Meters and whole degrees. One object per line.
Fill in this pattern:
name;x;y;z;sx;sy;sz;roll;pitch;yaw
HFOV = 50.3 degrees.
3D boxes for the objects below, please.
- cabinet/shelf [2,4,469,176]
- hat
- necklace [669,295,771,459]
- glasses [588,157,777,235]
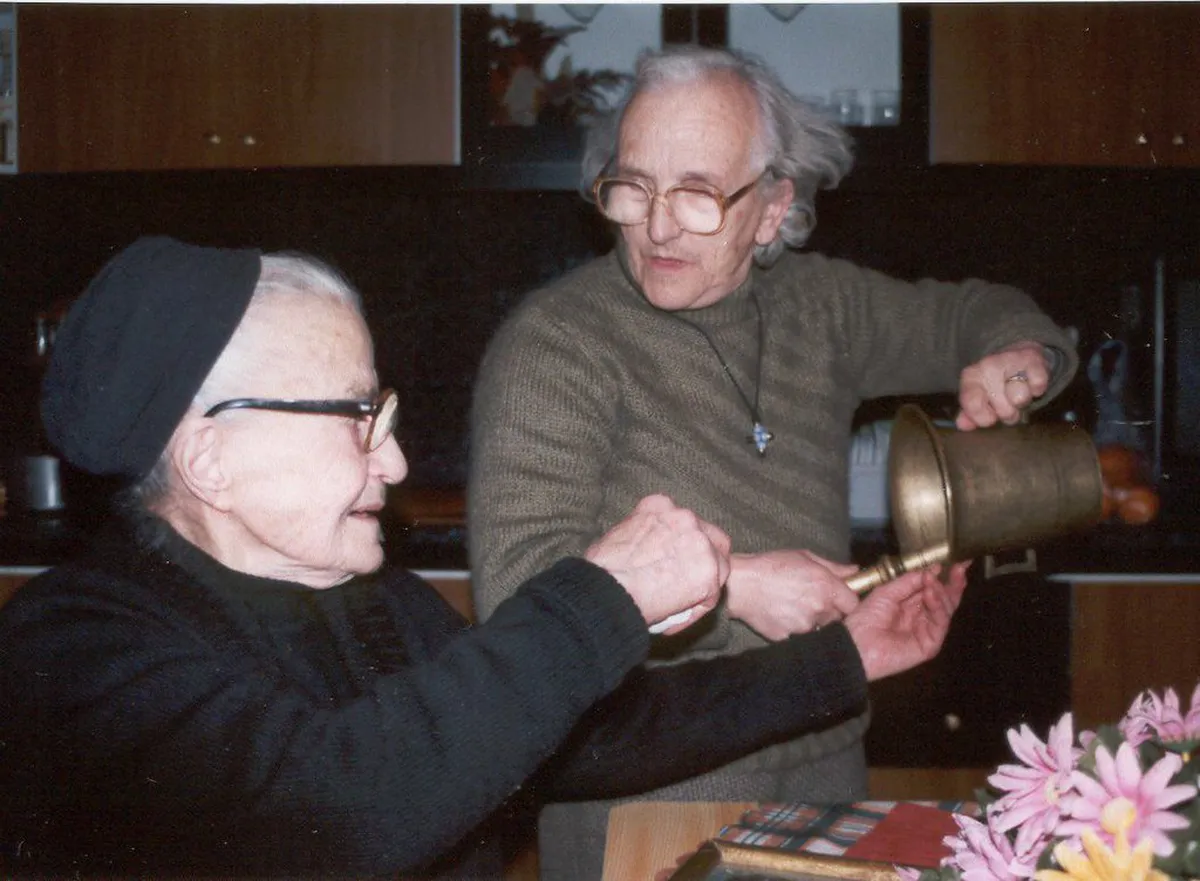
cabinet/shelf;-0.840;-0.762;2.707;1.061;0.358;0.464;1;5;4
hat;-0.497;-0.082;1.487;0.094;0.275;0.212;20;18;-44
necklace;0.208;-0.116;1.972;0.088;0.284;0.014;-16;-25;-13
glasses;0.124;-0.357;1.894;0.262;0.103;0.134;1;5;3
